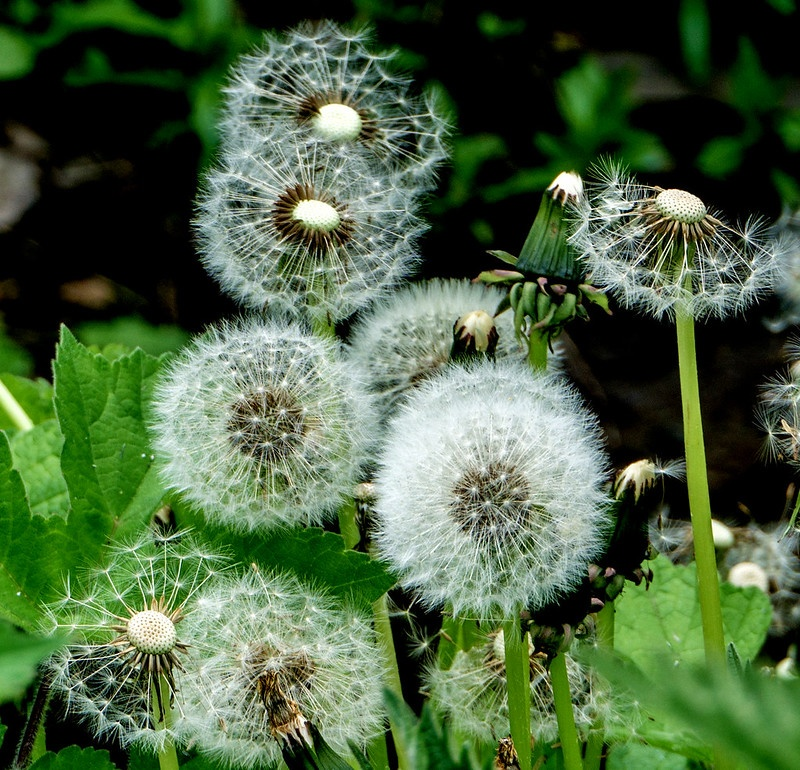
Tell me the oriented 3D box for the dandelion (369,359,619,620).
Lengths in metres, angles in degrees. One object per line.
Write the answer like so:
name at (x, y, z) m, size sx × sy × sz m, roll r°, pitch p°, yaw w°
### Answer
dandelion at (0.099, 0.104, 1.195) m, size 0.247 × 0.147 × 0.299 m, roll 2°, pitch 68°, yaw 1°

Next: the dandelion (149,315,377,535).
dandelion at (-0.156, 0.047, 1.293) m, size 0.258 × 0.076 × 0.244 m, roll 24°, pitch 70°, yaw 9°

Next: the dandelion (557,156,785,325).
dandelion at (0.286, -0.139, 1.238) m, size 0.216 × 0.279 × 0.123 m, roll 1°, pitch 100°, yaw -4°

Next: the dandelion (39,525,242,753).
dandelion at (-0.239, 0.273, 1.144) m, size 0.209 × 0.070 × 0.248 m, roll -2°, pitch 20°, yaw -26°
